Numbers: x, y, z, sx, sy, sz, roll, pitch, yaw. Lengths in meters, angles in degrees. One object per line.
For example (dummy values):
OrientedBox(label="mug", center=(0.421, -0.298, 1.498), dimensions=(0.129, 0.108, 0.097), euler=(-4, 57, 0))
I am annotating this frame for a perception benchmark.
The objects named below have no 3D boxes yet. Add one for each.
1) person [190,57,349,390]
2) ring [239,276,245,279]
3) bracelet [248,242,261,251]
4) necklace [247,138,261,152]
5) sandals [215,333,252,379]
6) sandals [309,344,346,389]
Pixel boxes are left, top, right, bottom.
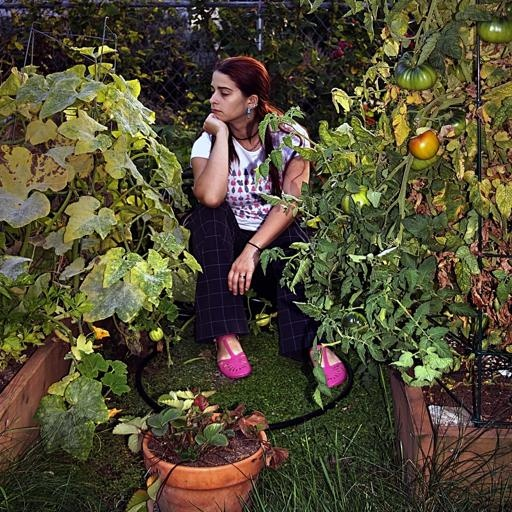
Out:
OrientedBox(label="person", center=(0.038, -0.160, 1.690), dimensions=(0.582, 1.182, 0.693), euler=(0, 18, -9))
OrientedBox(label="ring", center=(-0.050, 0.077, 1.640), dimensions=(0.013, 0.008, 0.013), euler=(1, 19, 0))
OrientedBox(label="bracelet", center=(-0.004, -0.039, 1.669), dimensions=(0.037, 0.009, 0.038), euler=(33, 3, -8))
OrientedBox(label="necklace", center=(-0.016, -0.471, 1.865), dimensions=(0.072, 0.054, 0.016), euler=(-5, 13, -6))
OrientedBox(label="sandals", center=(-0.086, 0.373, 1.667), dimensions=(0.096, 0.160, 0.135), euler=(-11, 22, -37))
OrientedBox(label="sandals", center=(0.262, 0.389, 1.642), dimensions=(0.101, 0.065, 0.196), euler=(-30, 32, 1))
